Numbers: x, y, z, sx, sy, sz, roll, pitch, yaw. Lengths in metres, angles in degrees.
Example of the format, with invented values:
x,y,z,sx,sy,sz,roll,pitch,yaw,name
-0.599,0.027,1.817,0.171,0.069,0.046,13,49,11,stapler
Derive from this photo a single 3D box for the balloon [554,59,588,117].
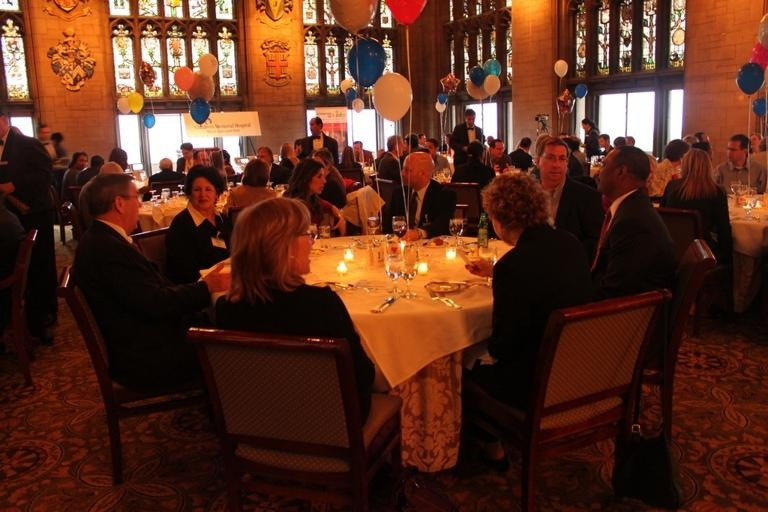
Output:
x,y,z,sx,sy,sz,roll,pitch,yaw,name
4.236,-3.857,13.319,0.764,1.249,1.177,2,13,16,balloon

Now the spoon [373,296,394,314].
x,y,z,sx,sy,sz,roll,pitch,yaw,name
0.004,0.266,3.285,0.048,0.025,0.177,6,14,16,spoon

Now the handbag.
x,y,z,sx,sy,sz,roll,pitch,yaw,name
1.393,1.159,3.126,0.408,0.408,0.193,2,17,27,handbag

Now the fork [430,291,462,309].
x,y,z,sx,sy,sz,roll,pitch,yaw,name
0.355,0.251,3.319,0.055,0.011,0.212,-4,18,-7,fork

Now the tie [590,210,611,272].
x,y,z,sx,sy,sz,roll,pitch,yaw,name
1.553,-0.111,4.217,0.068,0.502,0.059,-2,-31,43,tie

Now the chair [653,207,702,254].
x,y,z,sx,sy,sz,roll,pitch,yaw,name
2.171,-0.188,4.328,0.230,0.385,0.214,-34,28,-22,chair

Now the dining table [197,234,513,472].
x,y,z,sx,sy,sz,roll,pitch,yaw,name
0.141,0.526,3.770,1.066,0.882,1.213,-3,9,-7,dining table

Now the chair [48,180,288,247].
x,y,z,sx,sy,sz,roll,pitch,yaw,name
-2.790,-0.546,7.082,1.907,0.715,1.482,-2,12,-7,chair

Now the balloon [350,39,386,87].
x,y,z,sx,sy,sz,roll,pitch,yaw,name
-0.179,-1.963,6.013,0.424,0.548,0.443,0,17,-5,balloon

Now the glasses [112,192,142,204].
x,y,z,sx,sy,sz,roll,pitch,yaw,name
-1.585,-0.357,3.599,0.038,0.108,0.155,6,15,32,glasses

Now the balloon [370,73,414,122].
x,y,z,sx,sy,sz,roll,pitch,yaw,name
0.004,-1.598,5.943,0.435,0.551,0.444,-2,11,-6,balloon
